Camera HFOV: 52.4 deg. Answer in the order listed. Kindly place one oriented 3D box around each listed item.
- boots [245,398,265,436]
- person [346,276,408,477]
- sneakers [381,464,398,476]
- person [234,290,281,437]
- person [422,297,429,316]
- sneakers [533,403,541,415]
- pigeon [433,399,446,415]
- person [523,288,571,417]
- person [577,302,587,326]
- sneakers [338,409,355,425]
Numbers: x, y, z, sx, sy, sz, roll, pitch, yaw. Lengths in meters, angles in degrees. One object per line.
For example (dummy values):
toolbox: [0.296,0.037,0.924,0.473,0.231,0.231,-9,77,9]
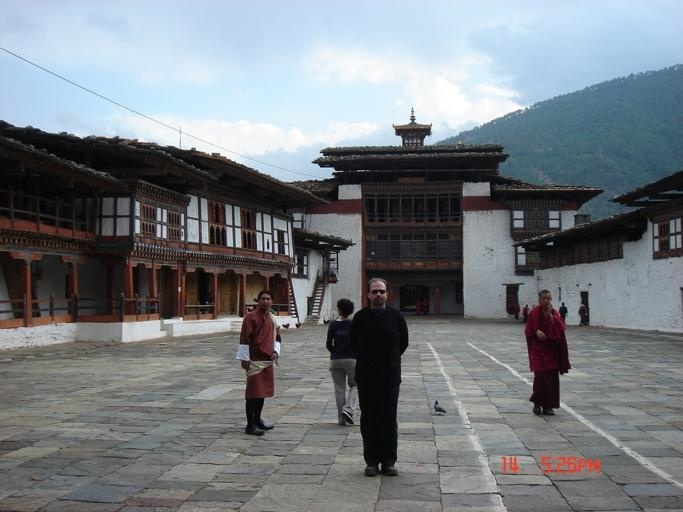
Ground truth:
boots: [-1.230,2.255,9.697,0.245,0.501,0.206,-3,-2,-10]
person: [0.481,1.434,8.413,0.685,2.313,0.607,-4,-2,3]
sneakers: [0.562,2.522,8.135,0.202,0.078,0.120,-3,-2,1]
person: [-1.172,1.518,9.987,0.584,1.990,0.688,-4,-2,-6]
person: [6.400,3.794,53.262,0.652,0.851,0.276,-3,-3,-18]
sneakers: [3.033,2.389,10.795,0.117,0.116,0.104,-4,-3,15]
pigeon: [1.506,2.386,10.824,0.163,0.255,0.243,10,-37,-11]
person: [3.281,1.526,11.156,0.642,1.492,0.884,-5,-3,16]
person: [12.986,3.186,37.369,0.471,0.924,1.180,-5,-3,19]
sneakers: [0.067,2.386,10.230,0.135,0.134,0.321,2,-33,20]
